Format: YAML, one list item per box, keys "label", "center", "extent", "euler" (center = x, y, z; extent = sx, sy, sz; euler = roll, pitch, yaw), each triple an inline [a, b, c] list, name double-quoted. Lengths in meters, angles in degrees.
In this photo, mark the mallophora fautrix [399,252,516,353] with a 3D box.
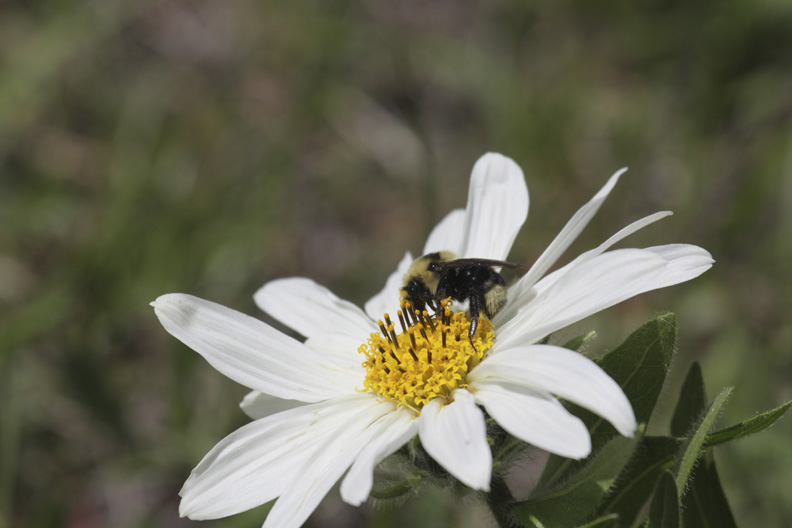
- label: "mallophora fautrix"
  center: [0.226, 0.135, 3.113]
  extent: [0.291, 0.166, 0.392]
  euler: [-9, 7, -39]
